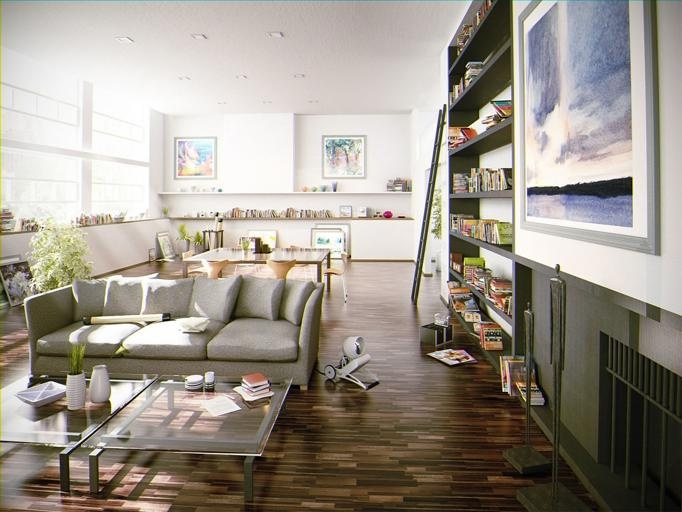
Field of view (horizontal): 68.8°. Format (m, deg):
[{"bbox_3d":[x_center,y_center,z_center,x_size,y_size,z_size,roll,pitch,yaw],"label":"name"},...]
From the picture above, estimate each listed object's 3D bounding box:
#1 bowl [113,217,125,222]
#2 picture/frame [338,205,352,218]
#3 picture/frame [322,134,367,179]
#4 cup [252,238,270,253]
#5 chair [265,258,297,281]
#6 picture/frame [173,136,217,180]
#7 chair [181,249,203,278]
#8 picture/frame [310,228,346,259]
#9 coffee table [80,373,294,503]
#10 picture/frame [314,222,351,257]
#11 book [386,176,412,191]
[{"bbox_3d":[-5.144,-0.856,11.669,0.172,0.076,0.177,0,0,0],"label":"bowl"},{"bbox_3d":[0.142,-1.252,13.884,0.355,0.366,0.036,-3,-2,-7],"label":"picture/frame"},{"bbox_3d":[0.154,-2.798,13.790,1.171,1.114,0.121,0,2,-2],"label":"picture/frame"},{"bbox_3d":[-1.391,-0.174,8.761,0.286,0.284,0.273,1,9,0],"label":"cup"},{"bbox_3d":[-0.923,0.135,7.848,0.390,0.432,0.399,0,-32,0],"label":"chair"},{"bbox_3d":[-4.014,-2.812,14.021,1.172,1.190,0.116,1,3,0],"label":"picture/frame"},{"bbox_3d":[-2.824,0.162,9.561,0.294,0.371,0.571,0,10,-6],"label":"chair"},{"bbox_3d":[-0.314,-0.432,13.299,0.989,0.990,0.765,0,-1,0],"label":"picture/frame"},{"bbox_3d":[-1.099,1.343,3.707,0.792,0.230,0.866,1,8,4],"label":"coffee table"},{"bbox_3d":[-0.298,-0.247,13.802,1.056,0.986,0.585,3,-18,-9],"label":"picture/frame"},{"bbox_3d":[1.639,-1.928,13.752,0.529,0.258,0.393,0,5,2],"label":"book"}]
